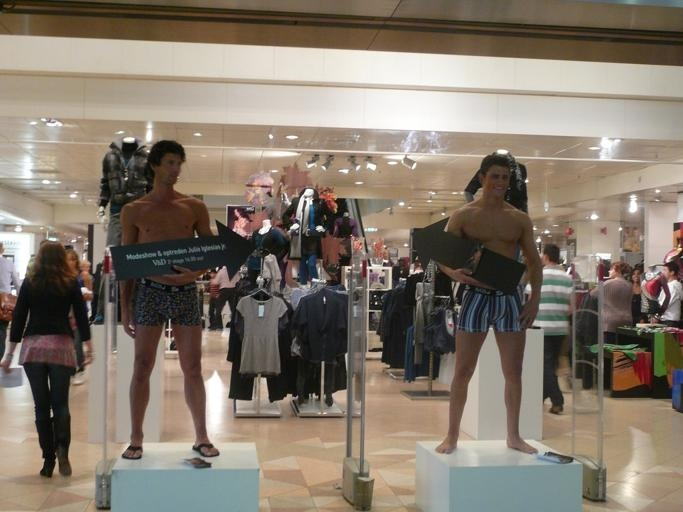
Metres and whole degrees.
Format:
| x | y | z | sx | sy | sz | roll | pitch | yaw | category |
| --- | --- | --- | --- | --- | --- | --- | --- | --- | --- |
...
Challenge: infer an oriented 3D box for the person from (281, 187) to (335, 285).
| x | y | z | sx | sy | sz | roll | pitch | yaw | category |
| --- | --- | --- | --- | --- | --- | --- | --- | --- | --- |
| -0.426 | -0.247 | 7.730 | 0.649 | 1.206 | 0.423 | 1 | -2 | -5 | person |

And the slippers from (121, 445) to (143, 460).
| x | y | z | sx | sy | sz | roll | pitch | yaw | category |
| --- | --- | --- | --- | --- | --- | --- | --- | --- | --- |
| -1.327 | 1.247 | 3.914 | 0.129 | 0.073 | 0.091 | 2 | -2 | -19 | slippers |

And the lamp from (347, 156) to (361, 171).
| x | y | z | sx | sy | sz | roll | pitch | yaw | category |
| --- | --- | --- | --- | --- | --- | --- | --- | --- | --- |
| 0.169 | -1.387 | 9.188 | 0.147 | 0.154 | 0.267 | -3 | 31 | -18 | lamp |

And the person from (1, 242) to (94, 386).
| x | y | z | sx | sy | sz | roll | pitch | yaw | category |
| --- | --- | --- | --- | --- | --- | --- | --- | --- | --- |
| -2.245 | 0.601 | 4.767 | 0.616 | 1.426 | 0.324 | 2 | -2 | -18 | person |

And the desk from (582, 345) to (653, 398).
| x | y | z | sx | sy | sz | roll | pitch | yaw | category |
| --- | --- | --- | --- | --- | --- | --- | --- | --- | --- |
| 3.642 | 1.466 | 7.915 | 0.596 | 0.610 | 0.413 | 1 | -2 | -4 | desk |

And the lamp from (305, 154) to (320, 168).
| x | y | z | sx | sy | sz | roll | pitch | yaw | category |
| --- | --- | --- | --- | --- | --- | --- | --- | --- | --- |
| -0.391 | -1.348 | 8.714 | 0.123 | 0.194 | 0.232 | 0 | -2 | 40 | lamp |

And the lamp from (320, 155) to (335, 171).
| x | y | z | sx | sy | sz | roll | pitch | yaw | category |
| --- | --- | --- | --- | --- | --- | --- | --- | --- | --- |
| -0.170 | -1.339 | 8.857 | 0.169 | 0.227 | 0.194 | -1 | -2 | 42 | lamp |

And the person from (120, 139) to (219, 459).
| x | y | z | sx | sy | sz | roll | pitch | yaw | category |
| --- | --- | --- | --- | --- | --- | --- | --- | --- | --- |
| -1.122 | 0.269 | 3.959 | 0.688 | 2.037 | 0.575 | 1 | -2 | 7 | person |

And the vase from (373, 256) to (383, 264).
| x | y | z | sx | sy | sz | roll | pitch | yaw | category |
| --- | --- | --- | --- | --- | --- | --- | --- | --- | --- |
| 0.643 | 0.085 | 11.278 | 0.150 | 0.138 | 0.145 | 1 | -2 | 12 | vase |

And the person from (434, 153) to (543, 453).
| x | y | z | sx | sy | sz | roll | pitch | yaw | category |
| --- | --- | --- | --- | --- | --- | --- | --- | --- | --- |
| 1.029 | 0.294 | 4.211 | 0.780 | 2.068 | 0.501 | 2 | -2 | -35 | person |

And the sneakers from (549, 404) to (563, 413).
| x | y | z | sx | sy | sz | roll | pitch | yaw | category |
| --- | --- | --- | --- | --- | --- | --- | --- | --- | --- |
| 2.026 | 1.458 | 5.823 | 0.066 | 0.091 | 0.135 | -1 | 8 | -12 | sneakers |

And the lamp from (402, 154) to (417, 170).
| x | y | z | sx | sy | sz | roll | pitch | yaw | category |
| --- | --- | --- | --- | --- | --- | --- | --- | --- | --- |
| 1.017 | -1.434 | 9.375 | 0.121 | 0.096 | 0.167 | 25 | -4 | 21 | lamp |

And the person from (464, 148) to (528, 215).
| x | y | z | sx | sy | sz | roll | pitch | yaw | category |
| --- | --- | --- | --- | --- | --- | --- | --- | --- | --- |
| 1.436 | -0.649 | 5.473 | 0.243 | 0.634 | 0.715 | -25 | 32 | -34 | person |
